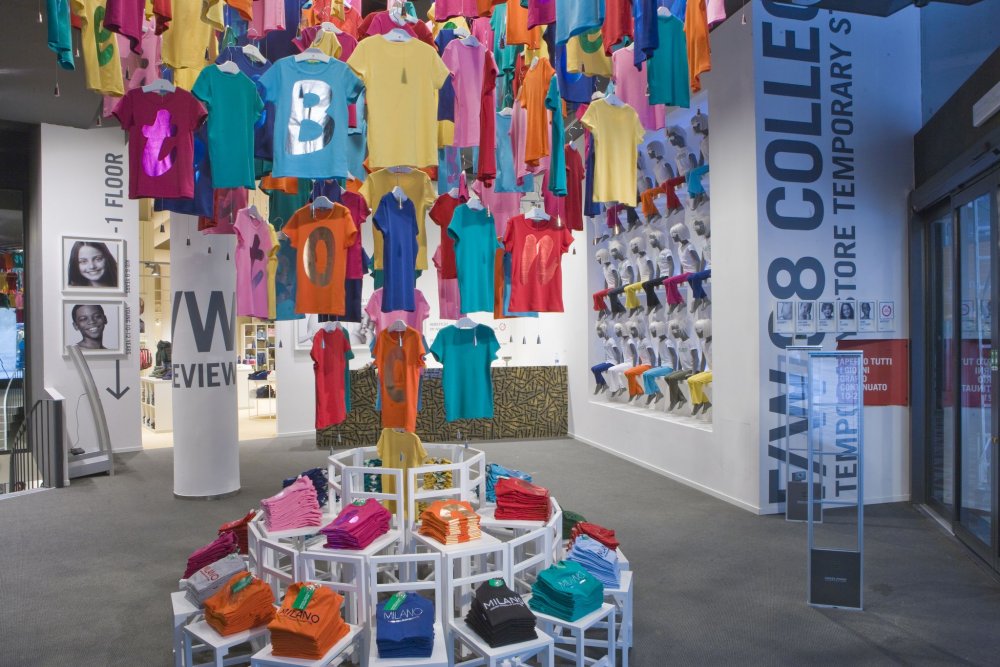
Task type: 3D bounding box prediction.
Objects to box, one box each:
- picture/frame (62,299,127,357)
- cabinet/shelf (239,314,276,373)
[{"bbox_3d":[-6.392,-0.089,12.148,0.827,0.900,0.060,0,-1,-35],"label":"picture/frame"},{"bbox_3d":[-5.881,0.289,19.236,0.778,1.453,0.413,-3,33,-19],"label":"cabinet/shelf"}]
